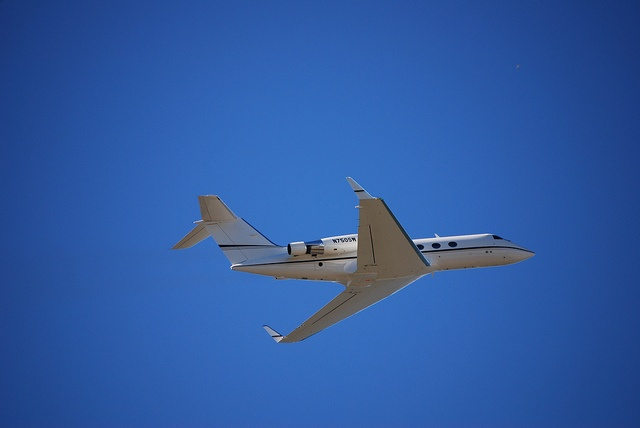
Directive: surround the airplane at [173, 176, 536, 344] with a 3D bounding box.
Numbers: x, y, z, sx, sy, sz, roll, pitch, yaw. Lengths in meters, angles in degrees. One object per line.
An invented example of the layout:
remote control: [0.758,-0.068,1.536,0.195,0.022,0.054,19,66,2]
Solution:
airplane: [1.337,1.574,29.842,8.620,2.689,7.650,0,-40,-17]
